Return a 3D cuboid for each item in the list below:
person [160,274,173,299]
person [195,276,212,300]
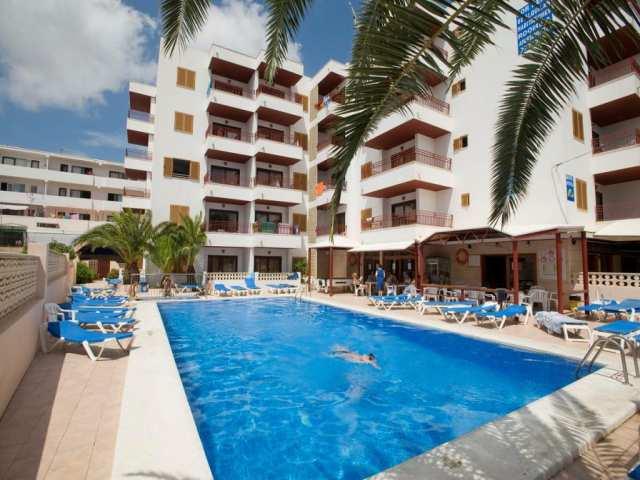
[{"bbox_3d":[-8.364,2.476,22.512,0.495,1.091,1.404,-3,10,-18],"label":"person"},{"bbox_3d":[-6.787,2.888,24.229,1.083,1.475,0.771,6,-9,-29],"label":"person"}]
